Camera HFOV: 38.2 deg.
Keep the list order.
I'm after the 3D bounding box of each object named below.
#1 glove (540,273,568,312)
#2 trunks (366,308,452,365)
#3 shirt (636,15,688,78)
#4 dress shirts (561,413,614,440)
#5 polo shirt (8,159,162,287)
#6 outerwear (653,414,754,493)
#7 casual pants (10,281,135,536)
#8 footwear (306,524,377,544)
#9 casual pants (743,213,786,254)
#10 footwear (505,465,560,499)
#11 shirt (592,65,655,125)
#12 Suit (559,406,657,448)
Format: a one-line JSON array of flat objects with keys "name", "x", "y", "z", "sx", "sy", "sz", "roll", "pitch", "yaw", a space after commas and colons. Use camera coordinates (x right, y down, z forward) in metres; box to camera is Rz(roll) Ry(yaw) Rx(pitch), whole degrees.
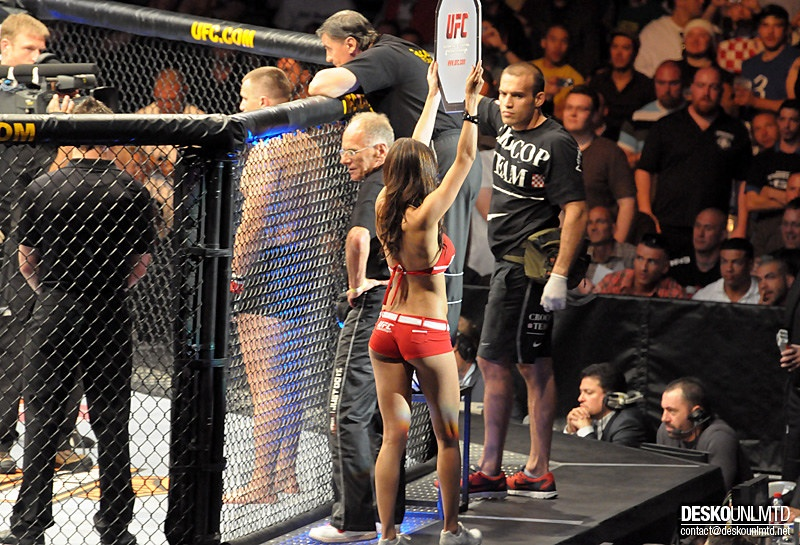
[{"name": "glove", "x": 0.930, "y": 0.129, "z": 6.993, "sx": 0.096, "sy": 0.197, "sz": 0.179, "roll": 12, "pitch": -6, "yaw": -24}, {"name": "trunks", "x": 0.083, "y": 0.342, "z": 6.505, "sx": 0.331, "sy": 0.206, "sz": 0.546, "roll": -7, "pitch": 11, "yaw": -39}, {"name": "shirt", "x": 2.197, "y": -1.937, "z": 9.706, "sx": 0.221, "sy": 0.426, "sz": 0.502, "roll": -16, "pitch": 22, "yaw": 12}, {"name": "dress shirts", "x": 1.433, "y": 1.199, "z": 8.851, "sx": 0.370, "sy": 0.089, "sz": 0.239, "roll": -5, "pitch": 7, "yaw": 0}, {"name": "polo shirt", "x": -1.946, "y": -0.244, "z": 6.737, "sx": 0.546, "sy": 0.724, "sz": 1.000, "roll": 3, "pitch": 2, "yaw": 39}, {"name": "outerwear", "x": 2.239, "y": 1.286, "z": 8.192, "sx": 0.464, "sy": 0.180, "sz": 0.621, "roll": -16, "pitch": -5, "yaw": 33}, {"name": "casual pants", "x": -1.790, "y": 0.797, "z": 6.515, "sx": 0.705, "sy": 1.383, "sz": 0.405, "roll": 7, "pitch": 3, "yaw": -12}, {"name": "footwear", "x": -0.335, "y": 1.502, "z": 6.674, "sx": 0.392, "sy": 0.107, "sz": 0.120, "roll": 2, "pitch": -1, "yaw": -2}, {"name": "casual pants", "x": 2.892, "y": -0.297, "z": 9.177, "sx": 0.113, "sy": 0.277, "sz": 0.361, "roll": 13, "pitch": -12, "yaw": -42}, {"name": "footwear", "x": 0.816, "y": 1.318, "z": 7.226, "sx": 0.397, "sy": 0.136, "sz": 0.131, "roll": 3, "pitch": -2, "yaw": 13}, {"name": "shirt", "x": 1.886, "y": -1.476, "z": 9.726, "sx": 0.602, "sy": 0.406, "sz": 0.281, "roll": 6, "pitch": 23, "yaw": 10}, {"name": "Suit", "x": 1.631, "y": 1.172, "z": 8.753, "sx": 0.541, "sy": 0.147, "sz": 0.340, "roll": -3, "pitch": 4, "yaw": -4}]
